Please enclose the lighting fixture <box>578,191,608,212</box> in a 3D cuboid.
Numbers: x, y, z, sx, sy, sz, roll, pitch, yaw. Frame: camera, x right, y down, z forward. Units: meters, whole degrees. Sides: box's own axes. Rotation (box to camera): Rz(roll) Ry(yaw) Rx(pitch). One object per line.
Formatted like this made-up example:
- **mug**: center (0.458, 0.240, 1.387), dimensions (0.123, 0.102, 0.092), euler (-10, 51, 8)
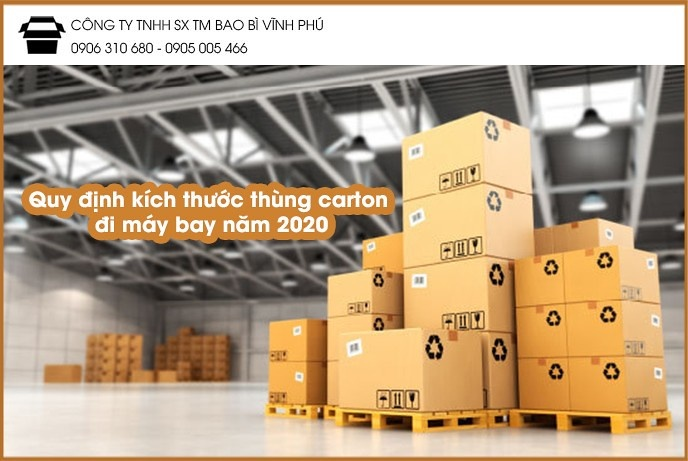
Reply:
- **lighting fixture**: center (7.119, -0.861, 17.747), dimensions (0.927, 0.529, 0.927), euler (2, -2, 11)
